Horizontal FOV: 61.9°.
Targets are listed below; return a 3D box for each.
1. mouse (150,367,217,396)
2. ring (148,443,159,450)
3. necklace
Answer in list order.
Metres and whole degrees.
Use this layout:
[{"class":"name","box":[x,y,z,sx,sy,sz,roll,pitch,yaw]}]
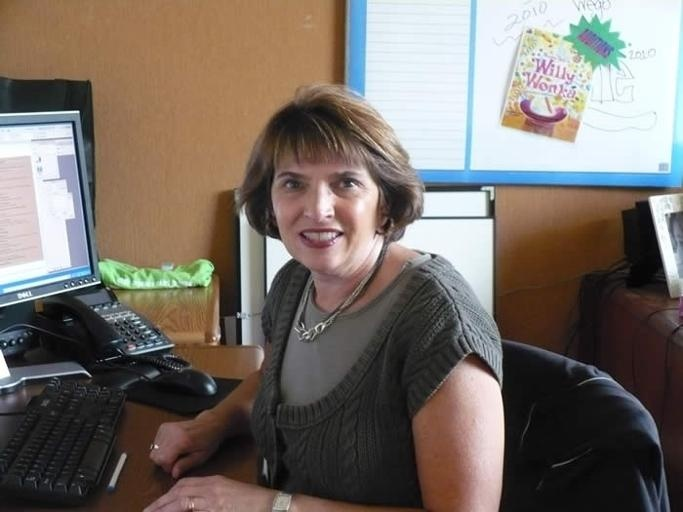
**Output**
[{"class":"mouse","box":[-0.387,0.306,1.408,0.122,0.043,0.075,16,7,8]},{"class":"ring","box":[-0.390,0.399,1.194,0.014,0.012,0.018,0,-13,0]},{"class":"necklace","box":[0.006,0.111,1.333,0.044,0.259,0.167,31,-17,-35]}]
